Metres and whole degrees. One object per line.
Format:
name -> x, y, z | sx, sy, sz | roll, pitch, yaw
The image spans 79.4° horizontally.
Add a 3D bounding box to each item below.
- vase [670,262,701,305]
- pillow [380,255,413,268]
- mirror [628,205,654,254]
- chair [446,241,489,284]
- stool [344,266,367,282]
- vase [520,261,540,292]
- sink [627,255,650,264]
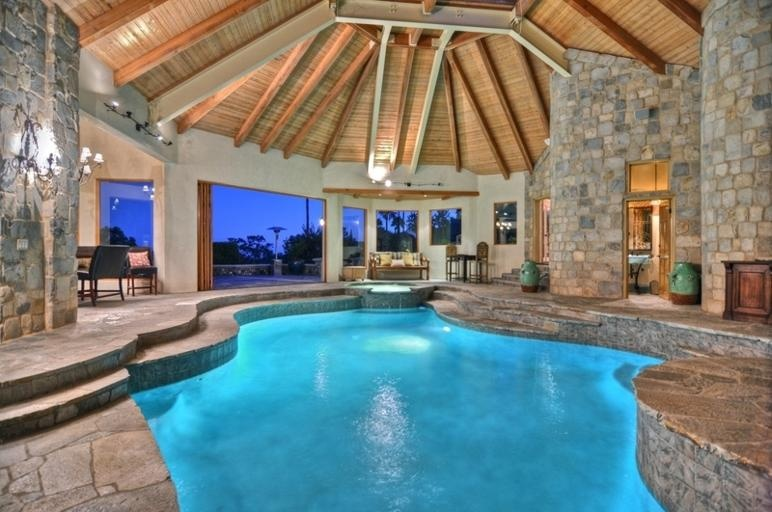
vase -> 5.784, 0.489, 8.902 | 0.537, 0.779, 0.616 | -1, 0, -29
pillow -> 0.375, 0.120, 14.963 | 1.034, 0.491, 0.578 | -2, -1, 0
mirror -> 7.104, -0.870, 12.879 | 0.675, 1.645, 0.141 | -2, -18, 32
chair -> 2.608, 0.162, 14.536 | 1.210, 0.841, 1.232 | 3, 6, 43
stool -> -1.007, 0.542, 14.841 | 0.518, 0.378, 0.523 | 0, -3, -3
vase -> 3.492, 0.471, 11.122 | 0.483, 0.738, 0.484 | 0, 1, 0
sink -> 6.844, 0.074, 12.361 | 0.485, 0.216, 0.471 | -3, -2, 33
